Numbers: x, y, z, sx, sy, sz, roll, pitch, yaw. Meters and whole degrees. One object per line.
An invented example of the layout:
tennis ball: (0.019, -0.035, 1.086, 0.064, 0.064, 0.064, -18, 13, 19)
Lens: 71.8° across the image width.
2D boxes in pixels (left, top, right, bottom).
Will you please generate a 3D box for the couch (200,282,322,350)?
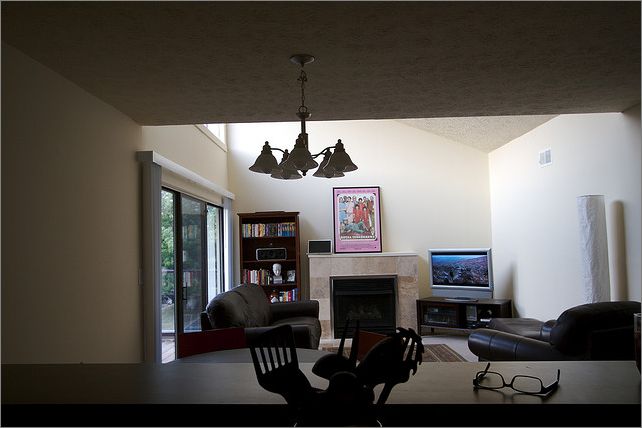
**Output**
couch: (-0.583, 1.103, 4.846, 1.071, 0.660, 1.743, -2, -5, 6)

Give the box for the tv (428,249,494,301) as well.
tv: (2.150, 0.903, 6.685, 0.772, 0.614, 0.154, -2, -10, 25)

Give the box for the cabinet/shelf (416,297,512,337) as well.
cabinet/shelf: (2.140, 1.551, 6.653, 1.246, 0.550, 0.447, -6, -3, 40)

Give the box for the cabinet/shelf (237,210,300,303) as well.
cabinet/shelf: (-0.922, 0.599, 7.154, 0.810, 1.431, 0.372, -4, 21, -15)

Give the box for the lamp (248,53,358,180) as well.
lamp: (-0.148, -0.803, 4.017, 1.061, 0.991, 0.869, 0, -11, -1)

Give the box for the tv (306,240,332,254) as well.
tv: (-0.009, 0.508, 7.151, 0.380, 0.210, 0.216, -1, -5, -1)

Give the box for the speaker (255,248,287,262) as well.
speaker: (-0.790, 0.619, 7.049, 0.472, 0.205, 0.194, -1, -5, -2)

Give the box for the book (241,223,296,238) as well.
book: (-0.832, 0.235, 7.027, 0.861, 0.220, 0.098, -1, -5, -3)

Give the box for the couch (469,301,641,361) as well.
couch: (1.875, 0.962, 3.560, 1.140, 0.523, 0.411, -4, -6, 32)
